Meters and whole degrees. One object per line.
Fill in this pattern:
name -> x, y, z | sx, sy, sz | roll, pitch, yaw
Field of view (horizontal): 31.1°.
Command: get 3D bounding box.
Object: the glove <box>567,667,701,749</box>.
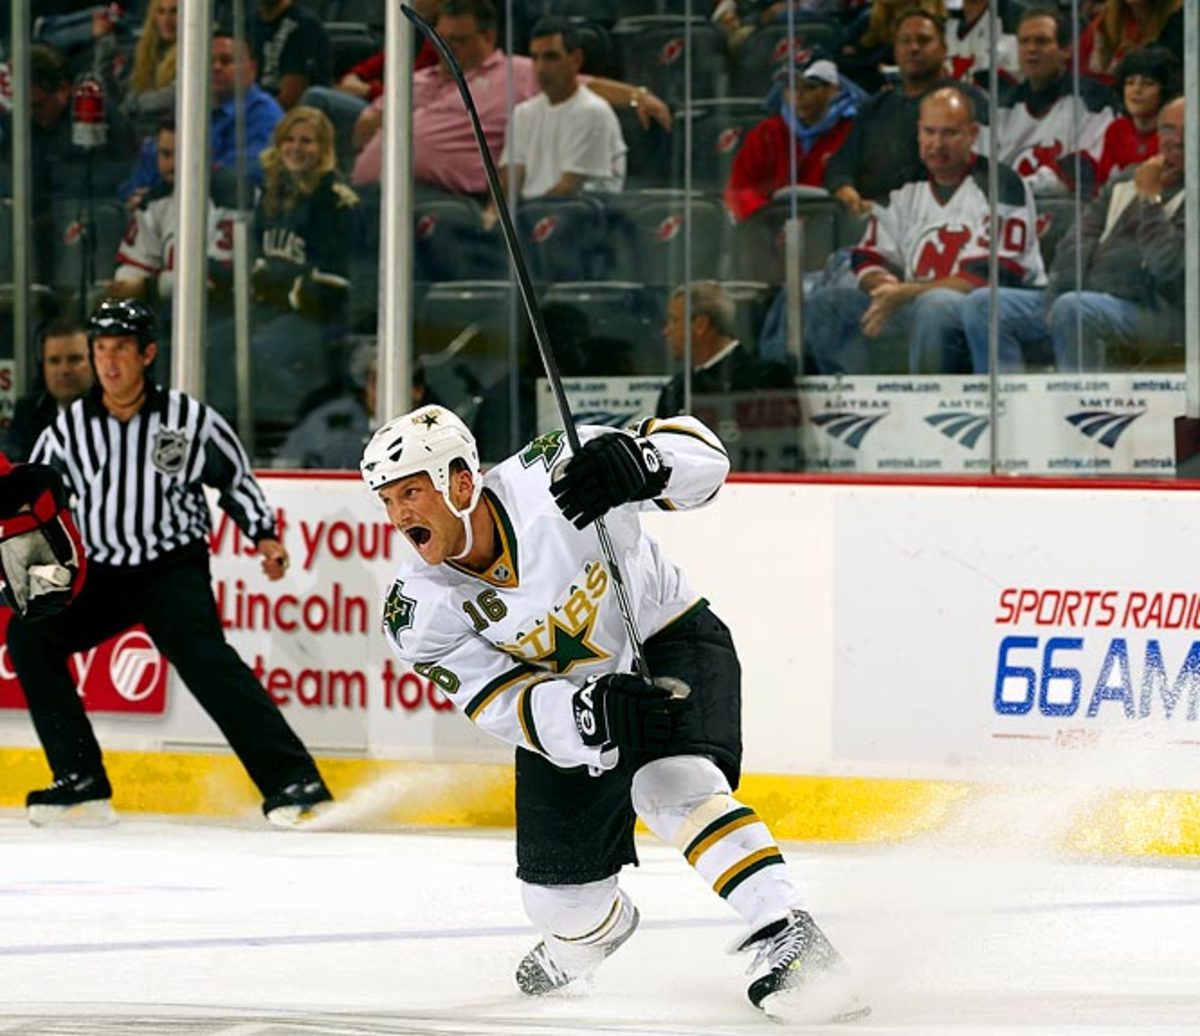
glove -> 0.063, 0.401, 4.708 | 0.209, 0.081, 0.154 | -7, 26, -2

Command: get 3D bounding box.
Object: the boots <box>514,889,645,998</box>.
boots -> -0.059, 1.001, 5.031 | 0.376, 0.136, 0.160 | -36, 5, 12

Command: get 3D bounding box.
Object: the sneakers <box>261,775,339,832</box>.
sneakers -> -0.911, 0.844, 6.519 | 0.212, 0.106, 0.143 | -4, 52, -40

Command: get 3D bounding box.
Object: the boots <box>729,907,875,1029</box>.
boots -> 0.450, 0.966, 4.705 | 0.308, 0.244, 0.150 | -4, 11, -17

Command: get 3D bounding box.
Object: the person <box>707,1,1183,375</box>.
person -> 1.252, -1.039, 6.791 | 1.162, 1.122, 0.533 | 2, 11, 14

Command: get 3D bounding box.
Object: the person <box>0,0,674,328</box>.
person -> -0.848, -1.162, 7.207 | 1.318, 0.890, 0.693 | 0, 0, 5

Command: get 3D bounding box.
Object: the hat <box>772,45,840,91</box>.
hat -> 0.657, -1.418, 6.833 | 0.178, 0.102, 0.108 | 11, 12, 5

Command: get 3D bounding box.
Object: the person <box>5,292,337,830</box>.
person -> -1.342, 0.130, 6.495 | 0.906, 1.526, 0.486 | -2, 11, -10

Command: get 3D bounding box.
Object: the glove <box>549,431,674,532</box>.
glove -> 0.029, -0.102, 4.764 | 0.237, 0.193, 0.096 | -22, 11, -25

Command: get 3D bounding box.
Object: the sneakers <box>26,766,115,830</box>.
sneakers -> -1.597, 0.841, 6.468 | 0.241, 0.162, 0.123 | 8, -14, -16
